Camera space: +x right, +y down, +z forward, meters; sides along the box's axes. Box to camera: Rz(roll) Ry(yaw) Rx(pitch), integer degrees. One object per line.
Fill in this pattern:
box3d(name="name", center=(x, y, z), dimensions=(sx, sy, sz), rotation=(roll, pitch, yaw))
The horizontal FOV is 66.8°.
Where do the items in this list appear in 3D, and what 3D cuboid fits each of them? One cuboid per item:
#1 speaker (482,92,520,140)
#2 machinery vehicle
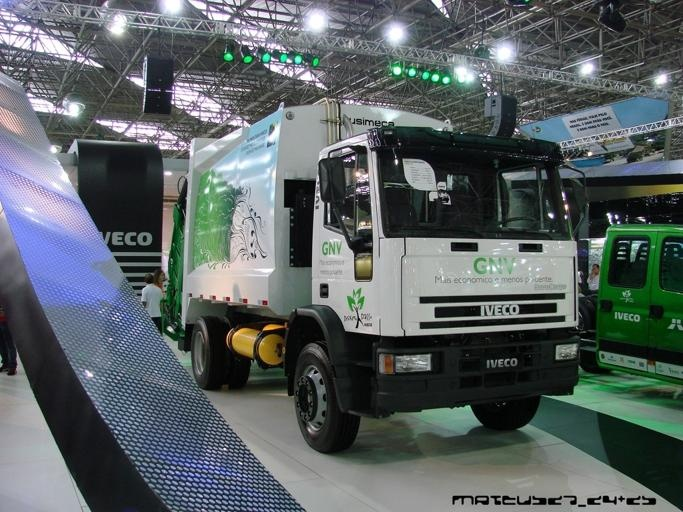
box3d(name="speaker", center=(2.178, -1.910, 7.098), dimensions=(0.372, 0.596, 0.385), rotation=(-2, 0, 22))
box3d(name="machinery vehicle", center=(-0.106, 0.322, 7.830), dimensions=(2.667, 3.962, 6.852), rotation=(2, -3, -26))
